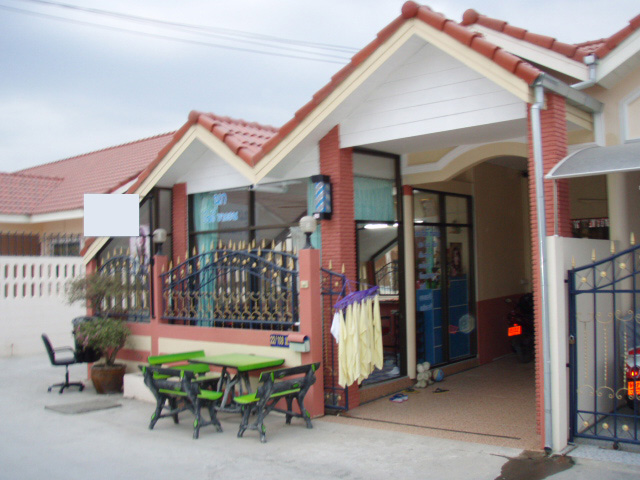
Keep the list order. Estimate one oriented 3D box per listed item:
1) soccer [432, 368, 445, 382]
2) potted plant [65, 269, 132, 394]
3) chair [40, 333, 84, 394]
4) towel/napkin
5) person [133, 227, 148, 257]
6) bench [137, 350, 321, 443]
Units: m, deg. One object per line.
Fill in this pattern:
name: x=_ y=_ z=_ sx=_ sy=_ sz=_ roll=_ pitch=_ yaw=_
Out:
soccer: x=2.485 y=2.872 z=14.396 sx=0.230 sy=0.232 sz=0.349 roll=-1 pitch=3 yaw=11
potted plant: x=-4.869 y=2.049 z=15.124 sx=1.196 sy=2.429 sz=1.778 roll=-3 pitch=3 yaw=-21
chair: x=-5.546 y=2.673 z=14.836 sx=0.892 sy=1.230 sz=0.915 roll=-5 pitch=-2 yaw=26
towel/napkin: x=0.657 y=1.697 z=11.832 sx=0.883 sy=1.652 sz=0.354 roll=-3 pitch=4 yaw=-31
person: x=-4.118 y=0.043 z=15.774 sx=0.338 sy=0.729 sz=0.520 roll=-3 pitch=3 yaw=-17
bench: x=-1.598 y=2.680 z=11.908 sx=2.958 sy=1.191 sz=1.744 roll=0 pitch=3 yaw=22
